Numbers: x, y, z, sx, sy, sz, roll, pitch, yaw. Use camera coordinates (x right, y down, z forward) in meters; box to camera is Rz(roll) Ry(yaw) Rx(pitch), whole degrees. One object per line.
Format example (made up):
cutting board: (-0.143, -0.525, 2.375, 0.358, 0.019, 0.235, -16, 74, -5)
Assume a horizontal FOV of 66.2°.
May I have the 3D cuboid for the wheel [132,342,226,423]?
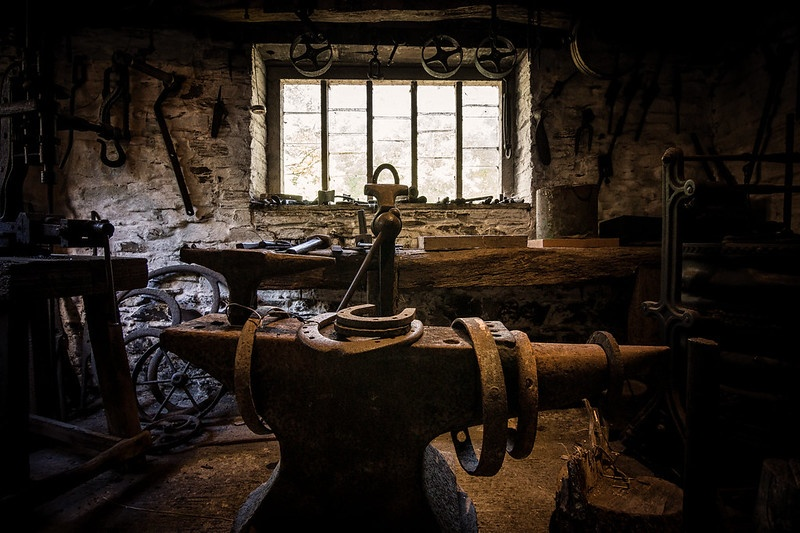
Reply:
wheel: (-2.339, 1.257, 6.278, 1.022, 0.969, 0.250, -4, -3, 3)
